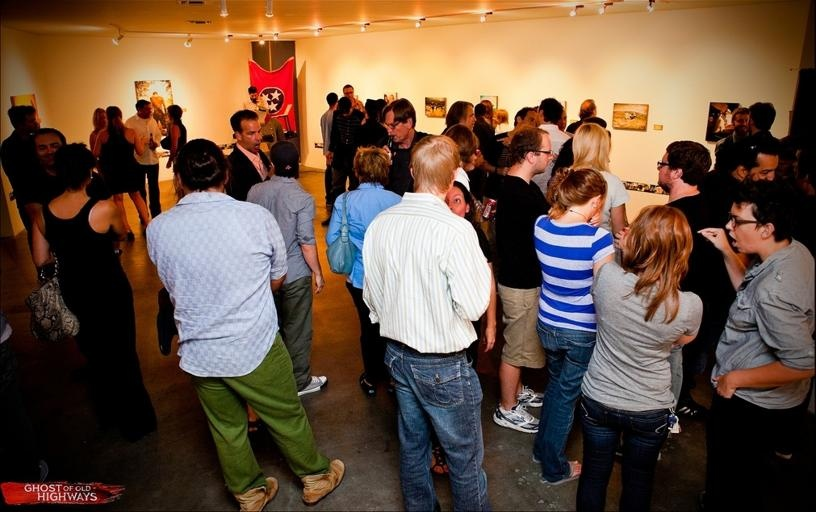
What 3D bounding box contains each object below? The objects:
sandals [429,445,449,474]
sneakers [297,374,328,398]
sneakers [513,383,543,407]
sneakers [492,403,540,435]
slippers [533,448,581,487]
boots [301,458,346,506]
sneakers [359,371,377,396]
[{"bbox_3d":[0.263,1.744,4.419,0.104,0.126,0.307,-2,45,-3],"label":"sandals"},{"bbox_3d":[-0.945,1.293,5.293,0.324,0.125,0.115,-17,25,-24],"label":"sneakers"},{"bbox_3d":[1.174,1.348,5.066,0.349,0.157,0.134,-1,11,0],"label":"sneakers"},{"bbox_3d":[0.992,1.467,4.838,0.455,0.215,0.178,11,11,7],"label":"sneakers"},{"bbox_3d":[1.279,1.780,4.399,0.431,0.179,0.155,21,26,-39],"label":"slippers"},{"bbox_3d":[-0.667,1.805,4.326,0.175,0.315,0.458,13,36,27],"label":"boots"},{"bbox_3d":[-0.404,1.270,5.268,0.100,0.116,0.273,-3,23,-16],"label":"sneakers"}]
